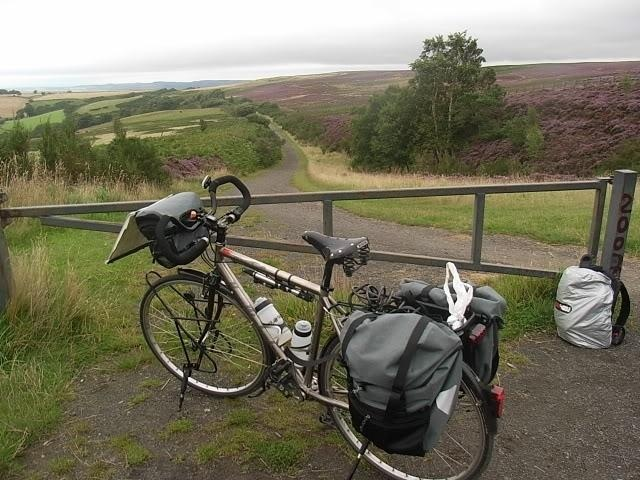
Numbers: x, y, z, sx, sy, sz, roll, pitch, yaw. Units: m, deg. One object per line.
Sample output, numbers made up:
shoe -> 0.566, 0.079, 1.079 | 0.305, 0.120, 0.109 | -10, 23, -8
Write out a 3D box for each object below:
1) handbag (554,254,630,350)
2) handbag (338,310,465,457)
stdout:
handbag -> 3.063, 0.681, 5.590 | 0.779, 0.925, 0.557 | -2, 18, 10
handbag -> 0.533, 1.016, 3.606 | 0.681, 0.948, 0.948 | 1, 11, -41
